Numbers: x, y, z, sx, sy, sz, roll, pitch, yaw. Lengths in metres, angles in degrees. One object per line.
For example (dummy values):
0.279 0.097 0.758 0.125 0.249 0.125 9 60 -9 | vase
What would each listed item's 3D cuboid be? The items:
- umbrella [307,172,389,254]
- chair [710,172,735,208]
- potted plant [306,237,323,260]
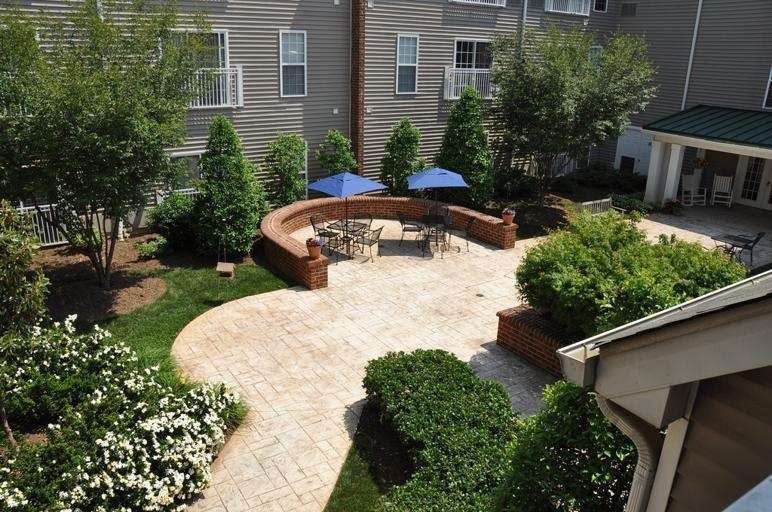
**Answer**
-1.118 -1.812 17.408 2.523 2.523 2.213 -18 38 -26 | umbrella
15.622 -3.036 23.242 0.913 1.279 0.754 15 26 30 | chair
-2.101 -0.207 14.685 0.557 0.583 0.582 1 14 -3 | potted plant
